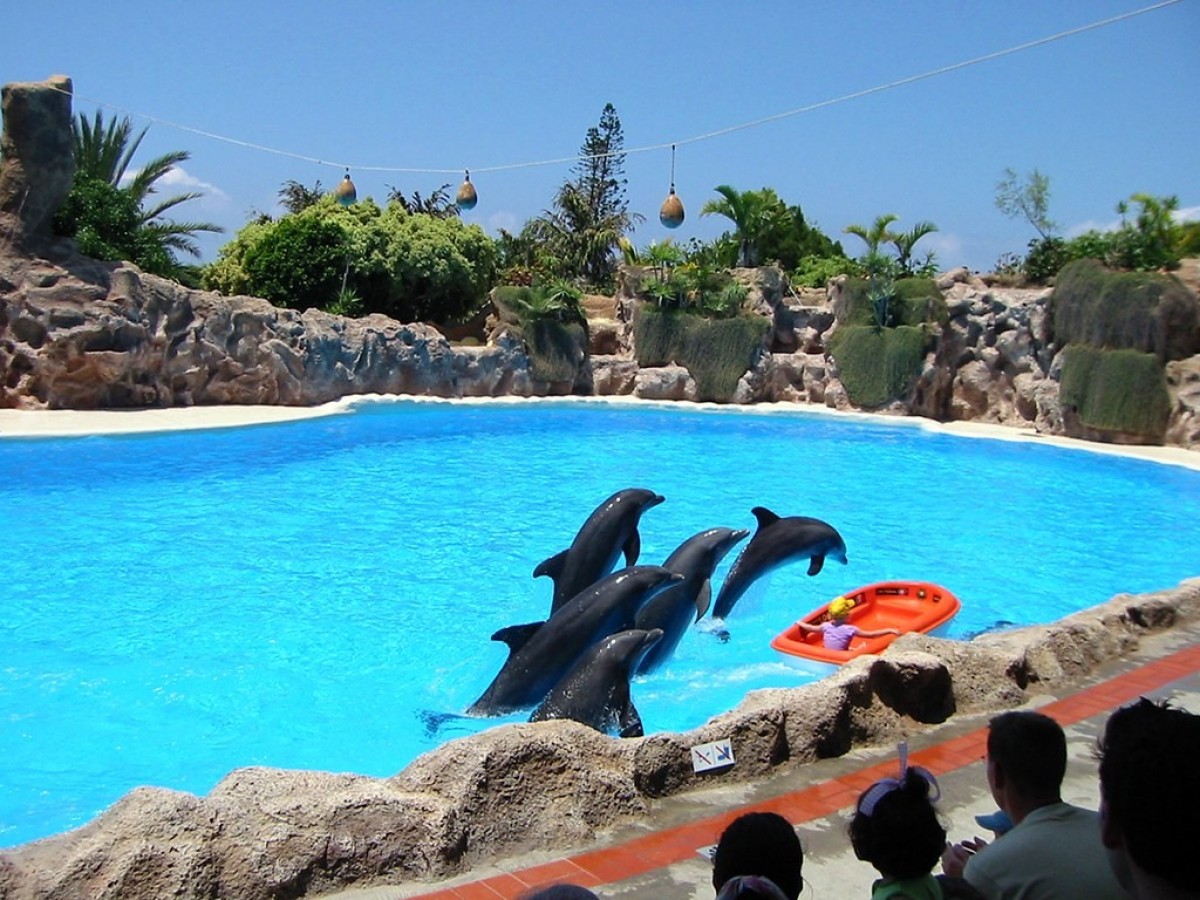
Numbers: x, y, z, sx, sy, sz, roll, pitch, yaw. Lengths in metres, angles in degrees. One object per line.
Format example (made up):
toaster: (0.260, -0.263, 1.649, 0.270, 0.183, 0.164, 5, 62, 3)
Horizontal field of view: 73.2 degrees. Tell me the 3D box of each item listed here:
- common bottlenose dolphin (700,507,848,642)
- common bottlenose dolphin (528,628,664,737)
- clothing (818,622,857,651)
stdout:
common bottlenose dolphin: (1.557, 0.957, 7.504, 1.823, 0.950, 0.652, -18, 17, -26)
common bottlenose dolphin: (-0.021, 1.493, 5.094, 0.689, 0.752, 0.566, 7, 13, 23)
clothing: (2.001, 1.591, 6.892, 0.318, 0.320, 0.178, 3, -8, 24)
